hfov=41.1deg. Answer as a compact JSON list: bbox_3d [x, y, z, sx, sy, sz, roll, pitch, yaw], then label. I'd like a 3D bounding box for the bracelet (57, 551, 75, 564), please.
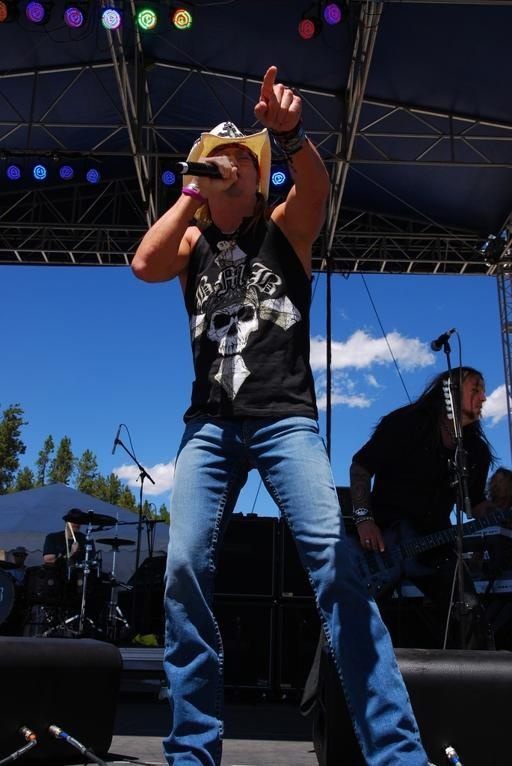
[{"bbox_3d":[-1.815,1.639,6.565,0.138,0.132,0.042,26,-3,-32],"label":"bracelet"}]

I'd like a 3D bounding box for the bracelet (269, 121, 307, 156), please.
[{"bbox_3d":[0.067,-0.527,1.522,0.083,0.065,0.060,-11,-51,22],"label":"bracelet"}]

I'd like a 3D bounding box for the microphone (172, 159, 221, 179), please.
[{"bbox_3d":[-0.125,-0.476,1.532,0.135,0.033,0.035,-6,-37,-37],"label":"microphone"}]

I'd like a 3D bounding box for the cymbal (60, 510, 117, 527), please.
[{"bbox_3d":[-1.603,1.297,6.611,0.290,0.064,0.281,4,-25,-3],"label":"cymbal"}]

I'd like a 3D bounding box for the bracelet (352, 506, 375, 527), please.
[{"bbox_3d":[0.655,0.797,4.134,0.093,0.063,0.119,-2,2,6],"label":"bracelet"}]

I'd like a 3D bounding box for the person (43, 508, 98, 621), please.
[{"bbox_3d":[-1.837,1.646,6.498,0.421,0.849,0.476,9,-10,0],"label":"person"}]

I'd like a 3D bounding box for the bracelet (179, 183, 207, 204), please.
[{"bbox_3d":[-0.143,-0.431,1.556,0.039,0.023,0.046,27,-10,43],"label":"bracelet"}]

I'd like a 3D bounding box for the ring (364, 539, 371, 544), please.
[{"bbox_3d":[0.675,0.941,4.103,0.023,0.009,0.032,4,7,43],"label":"ring"}]

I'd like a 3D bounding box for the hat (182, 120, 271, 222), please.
[{"bbox_3d":[-0.056,-0.541,1.707,0.197,0.266,0.124,4,29,7],"label":"hat"}]

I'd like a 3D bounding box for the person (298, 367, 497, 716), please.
[{"bbox_3d":[0.912,0.784,4.140,0.920,2.218,0.271,6,4,17],"label":"person"}]

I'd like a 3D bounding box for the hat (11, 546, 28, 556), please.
[{"bbox_3d":[-2.557,1.791,7.398,0.107,0.116,0.046,1,-12,-3],"label":"hat"}]
